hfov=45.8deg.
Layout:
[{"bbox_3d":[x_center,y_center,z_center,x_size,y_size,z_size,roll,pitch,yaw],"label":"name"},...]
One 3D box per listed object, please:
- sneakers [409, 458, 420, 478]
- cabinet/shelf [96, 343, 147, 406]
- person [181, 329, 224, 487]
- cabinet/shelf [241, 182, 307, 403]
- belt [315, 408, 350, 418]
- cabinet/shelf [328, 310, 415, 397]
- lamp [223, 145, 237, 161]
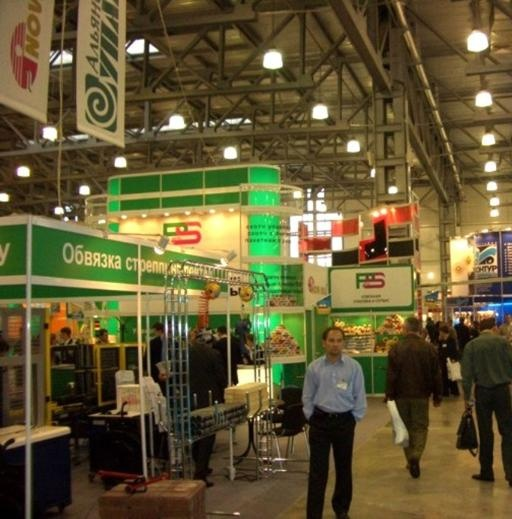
[{"bbox_3d":[1.405,1.841,5.353,0.062,0.087,0.217,-3,-47,4],"label":"sneakers"},{"bbox_3d":[-1.506,1.265,6.656,0.296,0.901,0.938,-2,-3,10],"label":"cabinet/shelf"},{"bbox_3d":[-0.445,1.350,5.639,0.340,1.372,0.887,-3,-7,-6],"label":"person"},{"bbox_3d":[0.338,0.618,11.462,1.073,4.357,1.206,-5,-14,19],"label":"cabinet/shelf"},{"bbox_3d":[0.502,1.018,4.012,0.255,0.067,0.067,-5,-7,5],"label":"belt"},{"bbox_3d":[2.194,1.764,11.739,1.612,1.635,0.617,-1,3,-2],"label":"cabinet/shelf"},{"bbox_3d":[-0.590,-2.487,13.797,0.263,0.366,0.505,-4,-7,4],"label":"lamp"}]
